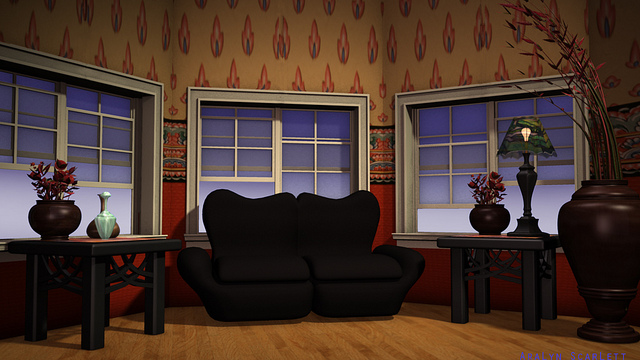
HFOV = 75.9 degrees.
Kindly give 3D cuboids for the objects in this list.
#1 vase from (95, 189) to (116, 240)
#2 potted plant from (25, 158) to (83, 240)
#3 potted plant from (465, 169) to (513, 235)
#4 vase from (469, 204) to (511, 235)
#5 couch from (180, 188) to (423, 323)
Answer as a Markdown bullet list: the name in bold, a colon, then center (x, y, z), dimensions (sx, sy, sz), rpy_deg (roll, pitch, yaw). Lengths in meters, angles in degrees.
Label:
- **vase**: center (-2.383, 0.389, 4.525), dimensions (0.202, 0.499, 0.521), rpy_deg (-1, 0, -28)
- **potted plant**: center (-2.887, 0.210, 4.418), dimensions (0.439, 0.829, 0.668), rpy_deg (-1, 0, -35)
- **potted plant**: center (2.067, 0.253, 5.053), dimensions (0.491, 0.684, 0.450), rpy_deg (-6, 3, 6)
- **vase**: center (2.017, 0.469, 4.934), dimensions (0.402, 0.271, 0.411), rpy_deg (1, -9, -5)
- **couch**: center (-0.268, 0.887, 4.994), dimensions (2.547, 1.542, 0.760), rpy_deg (0, 0, -6)
